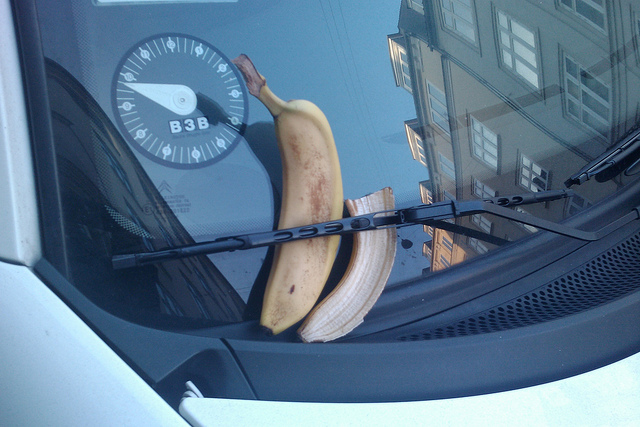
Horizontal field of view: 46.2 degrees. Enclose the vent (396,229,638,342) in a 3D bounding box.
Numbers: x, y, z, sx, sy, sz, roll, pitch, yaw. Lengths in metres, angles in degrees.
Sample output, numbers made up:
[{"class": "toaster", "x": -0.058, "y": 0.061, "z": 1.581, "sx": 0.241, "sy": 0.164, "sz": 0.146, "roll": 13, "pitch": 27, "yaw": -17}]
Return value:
[{"class": "vent", "x": 0.667, "y": 0.261, "z": 2.614, "sx": 0.738, "sy": 0.138, "sz": 0.122, "roll": -15, "pitch": -40, "yaw": -12}]
